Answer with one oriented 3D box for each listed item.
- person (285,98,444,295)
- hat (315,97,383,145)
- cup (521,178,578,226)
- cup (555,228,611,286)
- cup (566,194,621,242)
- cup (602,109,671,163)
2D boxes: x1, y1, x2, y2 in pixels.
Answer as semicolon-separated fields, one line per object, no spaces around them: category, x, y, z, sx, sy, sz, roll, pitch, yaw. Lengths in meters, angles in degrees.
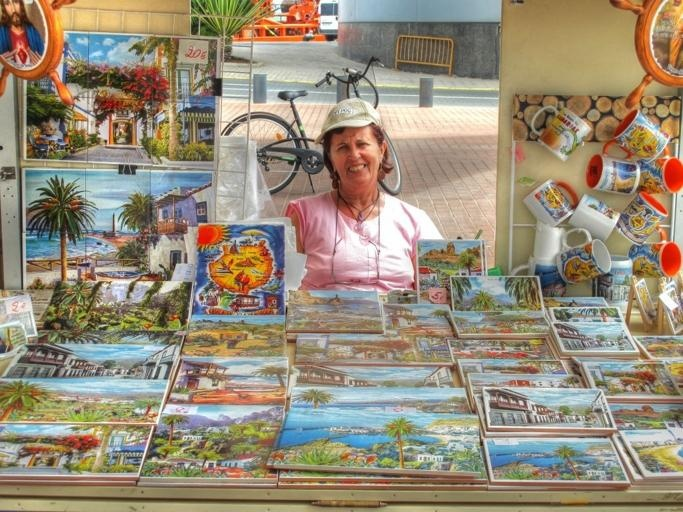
person;0.118;-0.274;3.181;1.204;0.823;0.529;1;13;-4
hat;0.044;-0.731;2.940;0.241;0.139;0.298;-12;-11;26
cup;1.297;-0.347;3.377;0.397;0.215;0.225;-19;-1;-23
cup;1.356;0.017;3.140;0.242;0.219;0.330;0;19;-9
cup;1.520;-0.230;3.401;0.345;0.181;0.345;10;32;-6
cup;1.712;-0.693;3.151;0.275;0.276;0.122;1;14;15
